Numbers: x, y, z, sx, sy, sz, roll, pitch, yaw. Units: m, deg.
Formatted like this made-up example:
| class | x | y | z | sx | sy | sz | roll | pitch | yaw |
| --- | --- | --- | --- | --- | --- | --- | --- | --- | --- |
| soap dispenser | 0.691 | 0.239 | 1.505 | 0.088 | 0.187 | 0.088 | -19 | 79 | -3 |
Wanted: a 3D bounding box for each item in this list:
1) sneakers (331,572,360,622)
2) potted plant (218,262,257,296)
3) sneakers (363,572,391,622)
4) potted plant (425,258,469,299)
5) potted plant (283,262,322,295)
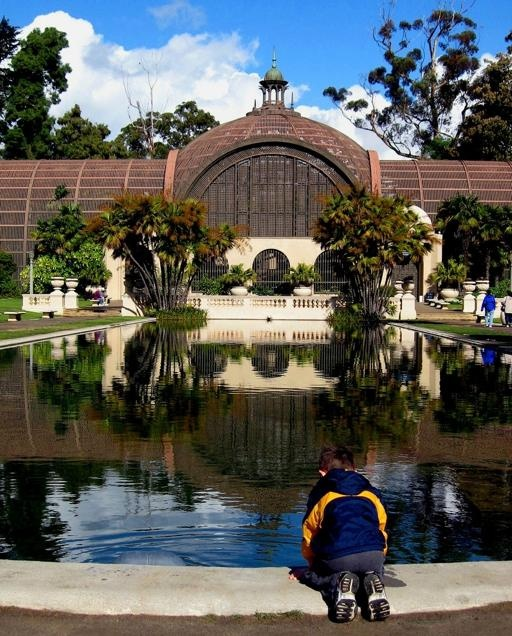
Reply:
| class | x | y | z | sx | sy | sz | roll | pitch | yaw |
| --- | --- | --- | --- | --- | --- | --- | --- | --- | --- |
| sneakers | 0.449 | 1.393 | 4.517 | 0.103 | 0.242 | 0.109 | 4 | -16 | 2 |
| potted plant | -1.188 | -2.390 | 56.569 | 2.036 | 2.005 | 2.063 | 0 | -4 | -1 |
| sneakers | 0.601 | 1.412 | 4.550 | 0.105 | 0.233 | 0.105 | -9 | -21 | 3 |
| potted plant | 12.917 | -2.722 | 61.087 | 2.391 | 2.646 | 2.583 | -1 | -4 | 10 |
| potted plant | 3.009 | -2.324 | 56.130 | 2.083 | 2.121 | 2.106 | 1 | -6 | -5 |
